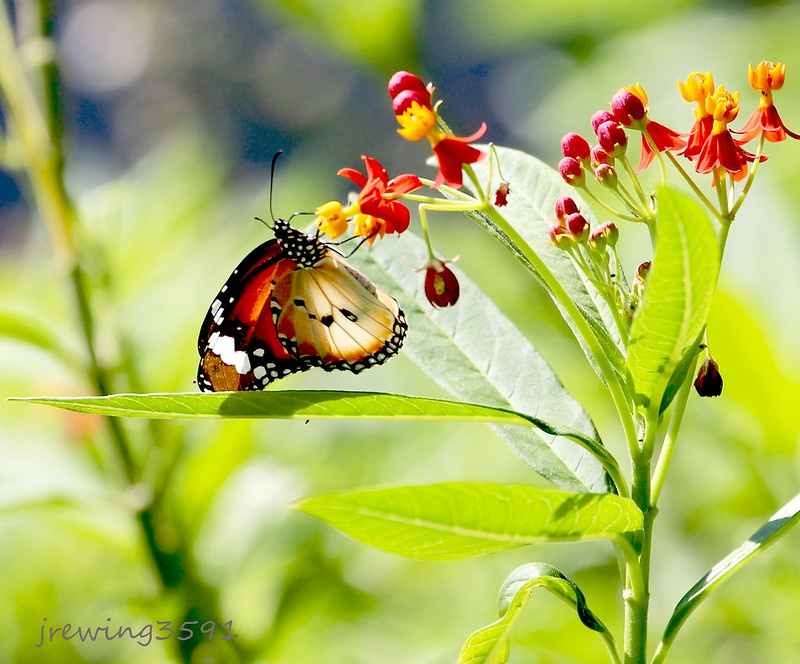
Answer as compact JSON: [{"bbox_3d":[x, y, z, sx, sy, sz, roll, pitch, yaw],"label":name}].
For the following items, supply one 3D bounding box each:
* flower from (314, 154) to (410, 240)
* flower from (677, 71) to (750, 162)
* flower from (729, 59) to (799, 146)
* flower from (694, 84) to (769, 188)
[{"bbox_3d":[-0.053,-0.198,1.514,0.189,0.106,0.197,1,3,-5],"label":"flower"},{"bbox_3d":[0.473,-0.309,1.450,0.087,0.101,0.108,-8,-41,-9],"label":"flower"},{"bbox_3d":[0.560,-0.355,1.550,0.110,0.127,0.118,-2,-3,-2],"label":"flower"},{"bbox_3d":[0.480,-0.303,1.468,0.119,0.137,0.125,-15,20,-25],"label":"flower"}]
